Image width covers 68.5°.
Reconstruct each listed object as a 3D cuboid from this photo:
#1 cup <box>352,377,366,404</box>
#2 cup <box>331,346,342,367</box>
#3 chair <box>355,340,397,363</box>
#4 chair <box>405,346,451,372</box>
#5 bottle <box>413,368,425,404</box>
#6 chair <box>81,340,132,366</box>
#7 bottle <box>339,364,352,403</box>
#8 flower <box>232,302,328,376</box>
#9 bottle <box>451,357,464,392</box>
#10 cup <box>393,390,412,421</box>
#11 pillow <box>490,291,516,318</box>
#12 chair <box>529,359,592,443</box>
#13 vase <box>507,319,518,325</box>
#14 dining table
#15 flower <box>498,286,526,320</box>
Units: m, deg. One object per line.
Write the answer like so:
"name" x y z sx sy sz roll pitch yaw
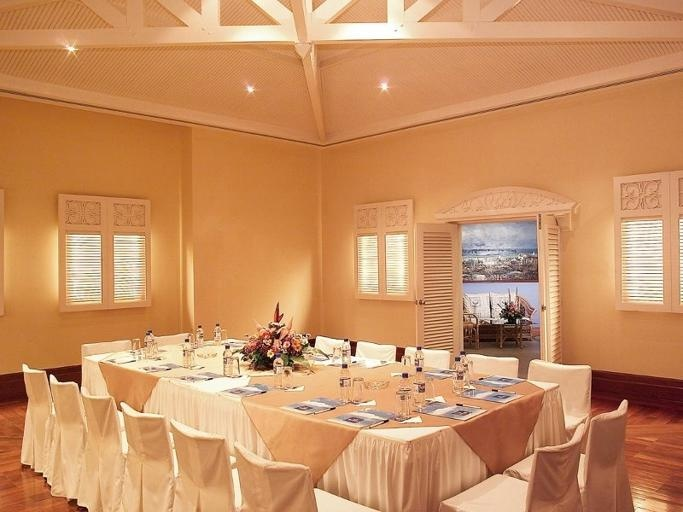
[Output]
"cup" 0.140 1.063 3.964 0.126 0.223 0.125 -2 4 0
"cup" -0.039 1.085 5.382 0.119 0.234 0.122 1 2 0
"chair" 0.396 1.112 5.710 0.269 0.389 0.316 -4 -12 33
"chair" 0.880 0.996 5.187 0.316 0.403 0.321 3 -6 -29
"bottle" 0.600 0.974 3.824 0.083 0.272 0.279 -1 -4 10
"chair" -2.877 1.104 6.058 0.256 0.320 0.479 -2 -2 43
"bottle" 0.036 0.975 3.919 0.090 0.298 0.245 0 -4 0
"flower" -0.626 0.821 4.954 0.631 0.577 0.645 -1 4 -17
"bottle" 0.952 0.957 4.072 0.080 0.284 0.169 -1 -4 12
"cup" 0.428 1.023 3.460 0.106 0.201 0.129 0 -4 4
"pillow" 4.026 1.234 12.455 0.634 0.446 0.631 0 5 -33
"chair" 2.086 1.279 4.658 0.586 0.964 0.571 -2 -5 37
"vase" 3.873 1.485 11.352 0.201 0.091 0.060 -2 -4 18
"dining table" -0.203 1.291 3.829 2.527 0.482 1.325 0 1 42
"flower" 4.014 1.189 11.569 0.402 0.581 0.363 0 -23 37
